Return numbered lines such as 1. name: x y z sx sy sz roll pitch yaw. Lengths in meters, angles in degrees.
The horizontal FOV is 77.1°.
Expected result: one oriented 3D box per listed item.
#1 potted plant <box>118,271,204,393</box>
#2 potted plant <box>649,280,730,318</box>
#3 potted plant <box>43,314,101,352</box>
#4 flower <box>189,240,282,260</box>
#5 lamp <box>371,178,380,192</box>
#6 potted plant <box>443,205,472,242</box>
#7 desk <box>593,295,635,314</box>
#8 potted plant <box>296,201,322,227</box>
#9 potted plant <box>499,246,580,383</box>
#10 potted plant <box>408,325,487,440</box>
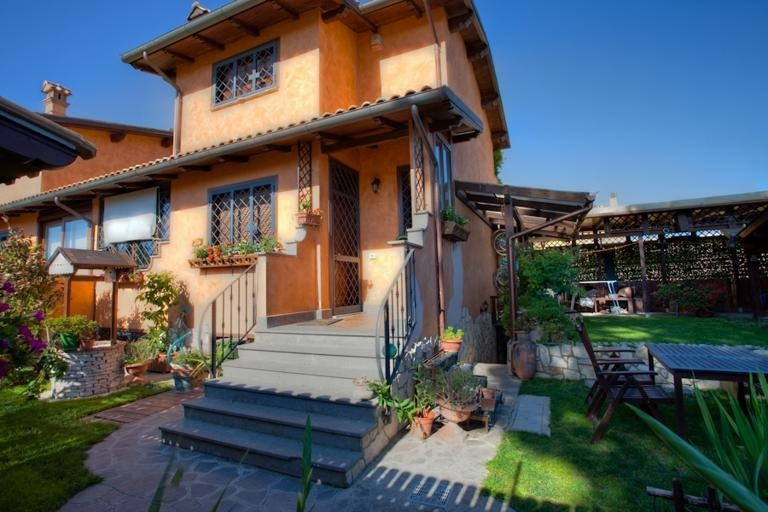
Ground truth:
1. potted plant: -5.937 1.711 13.023 1.846 2.577 0.872 -7 -7 39
2. potted plant: 10.375 1.435 16.403 2.046 1.191 1.246 -6 -7 28
3. potted plant: -7.593 1.871 12.037 0.919 1.115 1.225 -4 -5 19
4. flower: -3.747 -0.206 12.319 2.606 0.493 0.476 -6 -7 24
5. lamp: -0.203 -1.899 12.777 0.245 0.425 0.113 -2 -6 0
6. potted plant: 1.780 -0.821 11.977 0.360 0.851 1.240 -5 -6 26
7. desk: 8.648 1.863 18.192 0.803 0.528 0.840 -1 1 -40
8. potted plant: -1.780 -1.009 11.605 0.302 0.584 0.578 -3 -4 29
9. potted plant: 3.990 1.350 12.402 1.859 3.291 1.849 -4 -6 11
10. potted plant: 1.129 2.688 10.100 1.454 1.268 1.735 8 -13 -26
